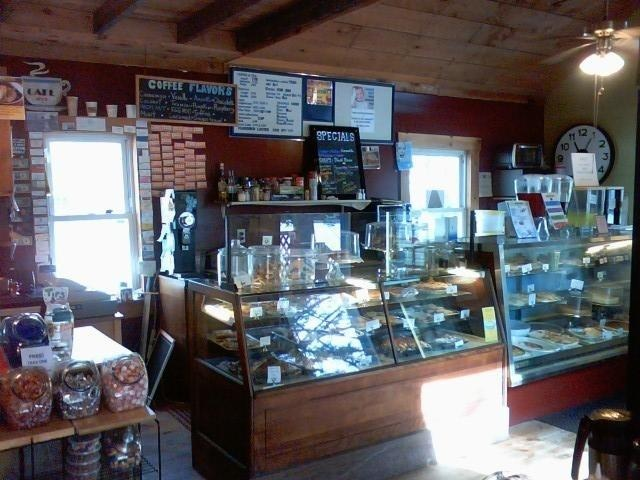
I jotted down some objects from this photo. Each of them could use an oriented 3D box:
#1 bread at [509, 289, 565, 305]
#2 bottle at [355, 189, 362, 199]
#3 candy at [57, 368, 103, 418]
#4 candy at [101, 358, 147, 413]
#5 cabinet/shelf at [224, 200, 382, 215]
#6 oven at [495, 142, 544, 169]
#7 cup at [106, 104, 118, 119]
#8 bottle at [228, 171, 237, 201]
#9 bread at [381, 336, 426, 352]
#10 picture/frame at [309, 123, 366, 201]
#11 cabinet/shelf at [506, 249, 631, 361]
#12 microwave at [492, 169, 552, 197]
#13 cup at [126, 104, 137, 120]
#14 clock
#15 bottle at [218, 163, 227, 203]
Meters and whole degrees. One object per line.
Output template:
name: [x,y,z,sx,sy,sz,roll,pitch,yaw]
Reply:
bread: [1.722,0.470,4.009,0.406,0.124,0.072,-2,5,-31]
bottle: [0.433,-0.493,5.503,0.092,0.123,0.091,2,2,0]
candy: [-1.059,0.667,2.239,0.161,0.204,0.224,0,1,-37]
candy: [-0.894,0.652,2.337,0.201,0.253,0.237,-1,1,-36]
cabinet/shelf: [-0.181,-0.348,5.328,1.689,0.166,0.405,-5,6,-27]
oven: [2.539,-1.020,6.386,0.414,0.259,0.396,-1,4,-17]
cup: [-1.910,-1.167,4.552,0.124,0.124,0.122,1,7,0]
bottle: [-0.888,-0.545,5.019,0.092,0.311,0.249,-3,5,-8]
bread: [0.555,0.701,3.423,0.316,0.122,0.100,8,-10,-20]
picture/frame: [0.164,-0.823,5.456,0.922,0.970,0.139,-3,-2,-27]
cabinet/shelf: [2.000,0.542,4.093,1.005,0.769,0.320,-4,6,-31]
microwave: [2.550,-0.727,6.409,0.627,0.370,0.216,-1,5,17]
cup: [-1.770,-1.186,4.660,0.138,0.140,0.131,1,8,0]
clock: [3.404,-1.107,6.493,0.232,0.770,0.789,-5,6,-21]
bottle: [-0.982,-0.566,4.978,0.091,0.394,0.219,-3,5,-9]
